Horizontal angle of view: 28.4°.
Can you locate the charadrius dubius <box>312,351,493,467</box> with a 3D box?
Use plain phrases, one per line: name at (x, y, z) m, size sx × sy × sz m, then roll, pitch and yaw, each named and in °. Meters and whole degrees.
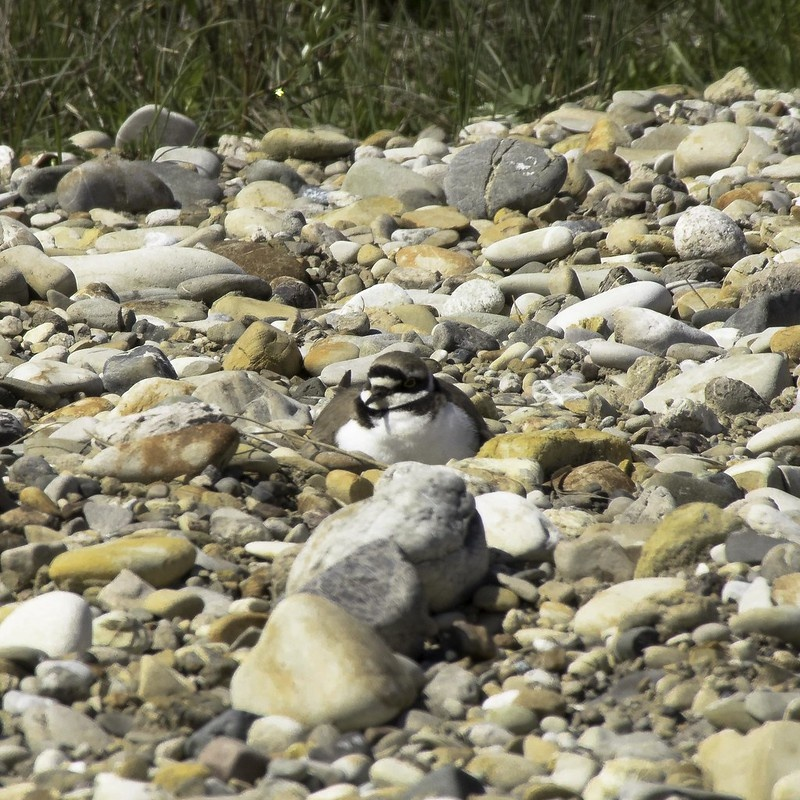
charadrius dubius at (-0.018, 0.047, 6.113) m, size 0.658 × 0.432 × 0.883 m, roll -6°, pitch 9°, yaw -15°
